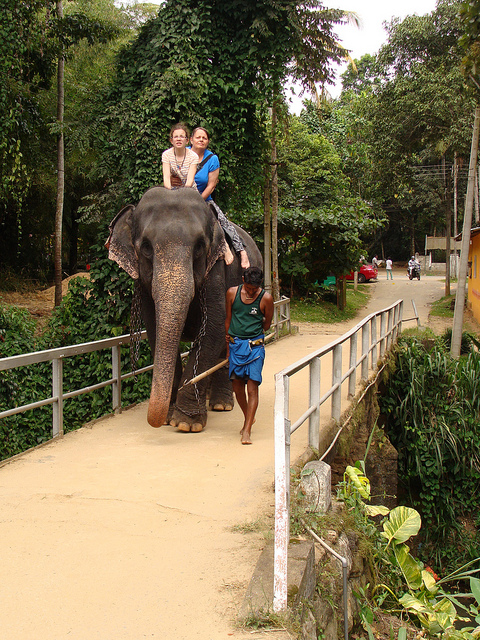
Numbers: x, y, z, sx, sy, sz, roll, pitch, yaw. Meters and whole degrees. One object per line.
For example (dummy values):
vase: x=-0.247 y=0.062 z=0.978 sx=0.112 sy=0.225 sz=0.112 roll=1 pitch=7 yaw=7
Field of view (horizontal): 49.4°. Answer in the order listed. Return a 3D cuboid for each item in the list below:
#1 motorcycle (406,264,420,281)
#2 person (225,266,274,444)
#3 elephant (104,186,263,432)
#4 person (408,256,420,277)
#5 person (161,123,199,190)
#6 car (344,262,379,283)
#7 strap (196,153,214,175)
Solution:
motorcycle: x=12.952 y=-3.537 z=38.323 sx=0.695 sy=1.160 sz=1.543 roll=-3 pitch=0 yaw=-14
person: x=0.104 y=0.321 z=4.925 sx=0.390 sy=1.661 sz=0.693 roll=-1 pitch=1 yaw=-28
elephant: x=-0.569 y=-0.106 z=5.666 sx=0.988 sy=2.376 sz=2.616 roll=-3 pitch=1 yaw=7
person: x=12.616 y=-3.870 z=37.937 sx=0.415 sy=1.434 sz=0.882 roll=-1 pitch=1 yaw=-3
person: x=-0.631 y=-1.738 z=5.582 sx=0.395 sy=0.850 sz=0.918 roll=-1 pitch=1 yaw=-6
car: x=8.866 y=-3.314 z=36.643 sx=0.790 sy=1.366 sz=3.055 roll=0 pitch=1 yaw=36
strap: x=-0.406 y=-1.808 z=5.992 sx=0.097 sy=0.370 sz=0.045 roll=39 pitch=-37 yaw=-23
